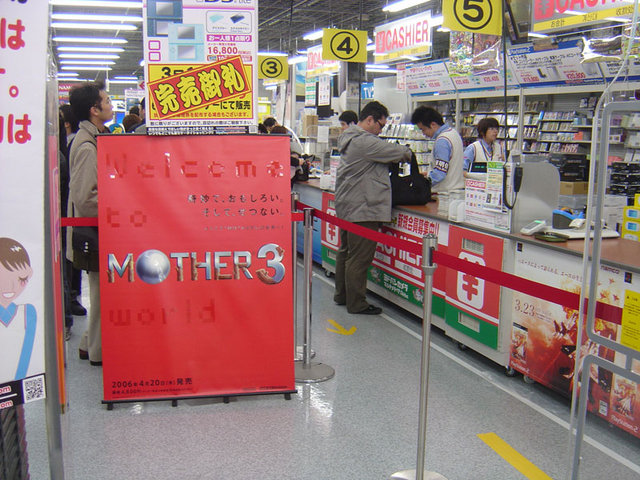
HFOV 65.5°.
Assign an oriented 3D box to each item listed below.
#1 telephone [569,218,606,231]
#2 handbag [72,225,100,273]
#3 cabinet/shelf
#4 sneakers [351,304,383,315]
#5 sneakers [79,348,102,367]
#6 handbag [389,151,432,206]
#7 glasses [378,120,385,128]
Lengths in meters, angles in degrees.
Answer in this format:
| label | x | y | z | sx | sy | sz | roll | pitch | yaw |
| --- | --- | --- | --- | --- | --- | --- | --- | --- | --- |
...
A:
| label | x | y | z | sx | sy | sz | roll | pitch | yaw |
| --- | --- | --- | --- | --- | --- | --- | --- | --- | --- |
| telephone | 1.636 | -0.099 | 3.060 | 0.141 | 0.051 | 0.107 | -1 | 3 | -10 |
| handbag | -1.770 | 0.078 | 3.816 | 0.307 | 0.360 | 0.110 | 2 | 15 | 22 |
| cabinet/shelf | 3.095 | -2.138 | 8.017 | 0.783 | 1.161 | 4.865 | -4 | 15 | -21 |
| sneakers | 0.500 | 0.718 | 5.259 | 0.341 | 0.150 | 0.125 | -4 | 7 | -3 |
| sneakers | -1.854 | 0.892 | 4.017 | 0.123 | 0.157 | 0.211 | 1 | 8 | -28 |
| handbag | 0.920 | -0.560 | 5.072 | 0.522 | 0.549 | 0.333 | -2 | 4 | -18 |
| glasses | 0.643 | -1.201 | 5.141 | 0.073 | 0.058 | 0.076 | 3 | 6 | 14 |
